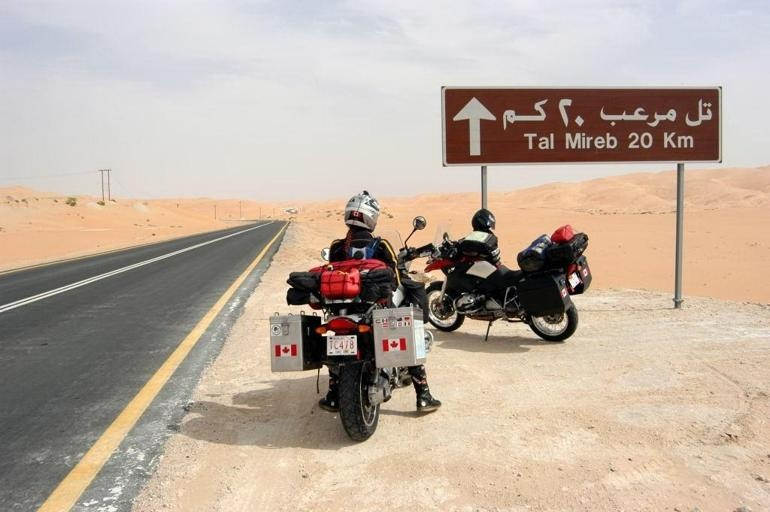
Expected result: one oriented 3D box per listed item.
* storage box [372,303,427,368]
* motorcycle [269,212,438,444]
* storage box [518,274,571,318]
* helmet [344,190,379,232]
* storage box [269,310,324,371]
[{"bbox_3d":[0.051,0.894,6.716,0.756,0.754,0.847,-4,-2,11],"label":"storage box"},{"bbox_3d":[-0.365,0.924,6.597,1.860,2.233,1.072,-4,13,-9],"label":"motorcycle"},{"bbox_3d":[2.575,0.654,9.265,0.688,0.518,0.389,-18,-3,32],"label":"storage box"},{"bbox_3d":[-0.320,-0.580,7.173,0.489,0.469,0.578,8,-8,1],"label":"helmet"},{"bbox_3d":[-0.940,1.048,6.819,0.664,0.574,0.755,-7,-11,25],"label":"storage box"}]
